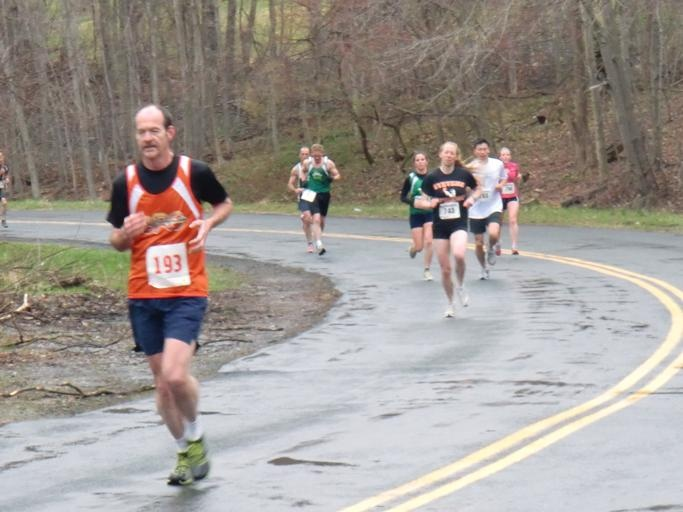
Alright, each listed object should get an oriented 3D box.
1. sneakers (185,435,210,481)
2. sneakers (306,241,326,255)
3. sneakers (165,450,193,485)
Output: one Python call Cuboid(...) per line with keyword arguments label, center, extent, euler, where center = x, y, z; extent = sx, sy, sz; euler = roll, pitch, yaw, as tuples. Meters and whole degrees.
Cuboid(label="sneakers", center=(-1.125, 1.607, 7.968), extent=(0.144, 0.335, 0.179), euler=(-14, -3, 32))
Cuboid(label="sneakers", center=(-0.508, -0.151, 20.594), extent=(0.194, 0.184, 0.491), euler=(-1, -6, -8))
Cuboid(label="sneakers", center=(-1.275, 1.678, 7.909), extent=(0.162, 0.241, 0.195), euler=(-2, 8, 40))
